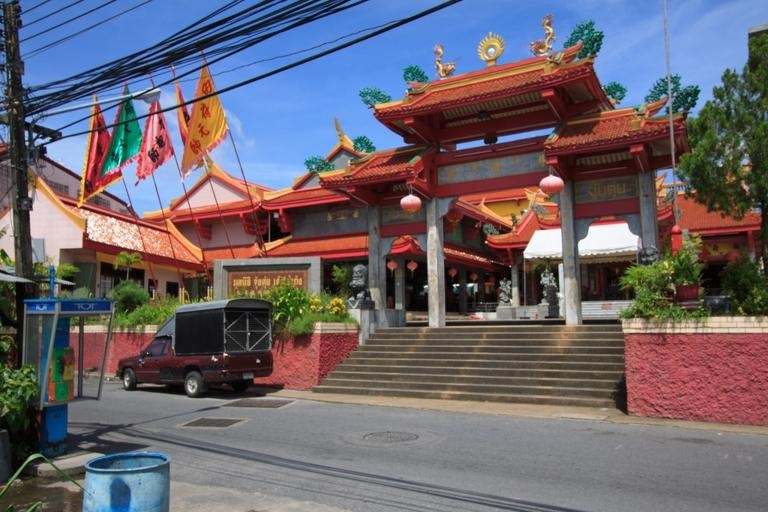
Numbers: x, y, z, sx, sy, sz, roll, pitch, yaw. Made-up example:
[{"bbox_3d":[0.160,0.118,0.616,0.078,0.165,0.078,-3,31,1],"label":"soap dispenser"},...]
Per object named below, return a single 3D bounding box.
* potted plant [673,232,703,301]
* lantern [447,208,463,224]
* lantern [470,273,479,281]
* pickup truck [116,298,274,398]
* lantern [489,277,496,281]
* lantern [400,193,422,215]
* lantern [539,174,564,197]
[{"bbox_3d":[8.681,0.302,17.669,0.868,1.793,0.931,-1,5,-36],"label":"potted plant"},{"bbox_3d":[3.180,-1.843,29.010,0.700,0.854,1.086,-2,-11,6],"label":"lantern"},{"bbox_3d":[6.435,1.518,45.157,0.551,0.678,0.569,-4,2,30],"label":"lantern"},{"bbox_3d":[-7.079,3.387,22.935,6.153,3.132,2.597,-7,-8,32],"label":"pickup truck"},{"bbox_3d":[7.374,1.572,43.091,0.429,0.339,0.508,-1,-3,-2],"label":"lantern"},{"bbox_3d":[0.956,-1.979,23.451,0.787,0.823,0.785,-4,4,-26],"label":"lantern"},{"bbox_3d":[5.505,-2.310,20.888,0.799,0.886,0.792,0,-2,-33],"label":"lantern"}]
